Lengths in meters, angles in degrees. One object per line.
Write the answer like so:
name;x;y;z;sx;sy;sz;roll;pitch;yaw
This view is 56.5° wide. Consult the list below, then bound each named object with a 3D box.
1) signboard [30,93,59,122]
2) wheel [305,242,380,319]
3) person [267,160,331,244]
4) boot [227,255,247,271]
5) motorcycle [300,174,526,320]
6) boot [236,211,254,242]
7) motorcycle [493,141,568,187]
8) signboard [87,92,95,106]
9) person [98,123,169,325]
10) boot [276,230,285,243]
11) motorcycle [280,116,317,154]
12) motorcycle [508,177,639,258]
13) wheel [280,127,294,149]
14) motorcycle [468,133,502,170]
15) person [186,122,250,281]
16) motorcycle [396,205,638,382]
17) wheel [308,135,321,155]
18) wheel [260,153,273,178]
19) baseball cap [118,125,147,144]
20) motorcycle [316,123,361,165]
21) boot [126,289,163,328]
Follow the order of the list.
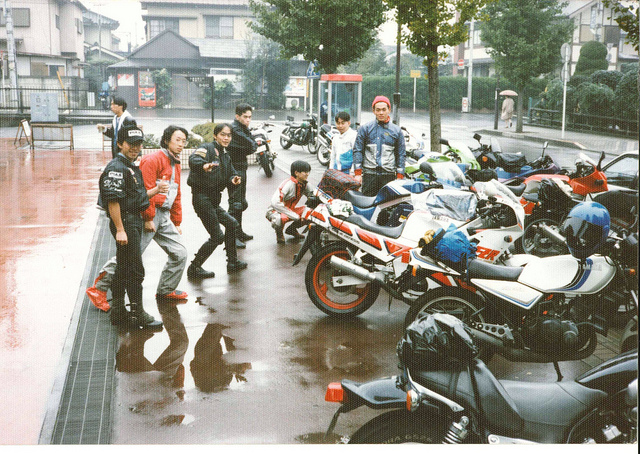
signboard;-11.591;-5.054;25.353;1.159;1.242;0.641;0;1;-1
wheel;0.276;0.631;6.939;0.800;0.955;0.188;2;9;6
person;-0.360;-0.423;10.078;0.990;1.435;0.836;0;10;-14
boot;-1.198;0.531;8.768;0.339;0.271;0.132;-4;16;-12
motorcycle;1.193;0.236;6.862;2.911;1.744;1.192;-3;15;10
boot;-1.299;-0.044;10.328;0.276;0.581;0.617;-1;14;-5
motorcycle;3.644;-1.068;10.803;1.426;0.883;0.753;-4;28;3
signboard;-14.757;-8.266;38.348;0.618;1.031;0.226;0;8;-11
person;-2.106;-0.019;6.754;0.690;2.243;0.637;-2;13;-9
boot;-0.686;0.166;10.269;0.139;0.188;0.176;-1;14;-6
motorcycle;-0.746;-3.388;21.841;0.431;1.264;2.275;-8;17;-33
motorcycle;3.681;-0.069;8.936;2.040;1.429;1.170;-4;11;-3
wheel;-1.251;-3.365;22.576;0.176;0.852;0.794;-2;13;-30
motorcycle;3.071;-1.417;10.969;0.742;0.561;0.493;2;19;17
person;-1.497;-0.437;8.773;0.759;2.164;1.529;0;13;-2
motorcycle;2.024;0.722;5.704;2.422;1.605;1.302;-1;8;0
wheel;-0.343;-2.919;21.127;0.215;0.631;0.598;-5;29;-46
wheel;-1.523;-1.787;16.854;0.339;0.743;1.217;0;14;-3
baseball cap;-2.109;-1.044;6.619;0.260;0.189;0.335;-4;15;-19
motorcycle;0.236;-2.689;19.338;0.538;1.263;1.545;-3;14;-14
boot;-1.956;0.946;6.741;0.402;0.425;0.183;3;6;22
